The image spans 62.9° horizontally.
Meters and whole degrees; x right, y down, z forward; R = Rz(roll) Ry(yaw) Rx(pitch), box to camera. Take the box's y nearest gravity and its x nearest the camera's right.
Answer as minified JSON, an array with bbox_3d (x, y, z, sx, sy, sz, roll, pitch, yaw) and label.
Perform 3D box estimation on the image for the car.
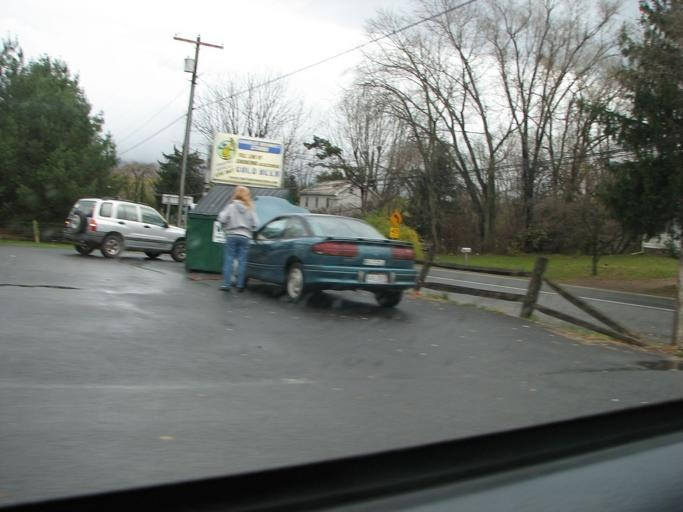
[{"bbox_3d":[-0.439,-0.151,10.687,1.936,1.122,3.820,1,8,-33],"label":"car"}]

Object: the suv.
[{"bbox_3d":[-7.386,-0.907,20.317,5.192,1.820,2.395,-1,2,-42],"label":"suv"}]
